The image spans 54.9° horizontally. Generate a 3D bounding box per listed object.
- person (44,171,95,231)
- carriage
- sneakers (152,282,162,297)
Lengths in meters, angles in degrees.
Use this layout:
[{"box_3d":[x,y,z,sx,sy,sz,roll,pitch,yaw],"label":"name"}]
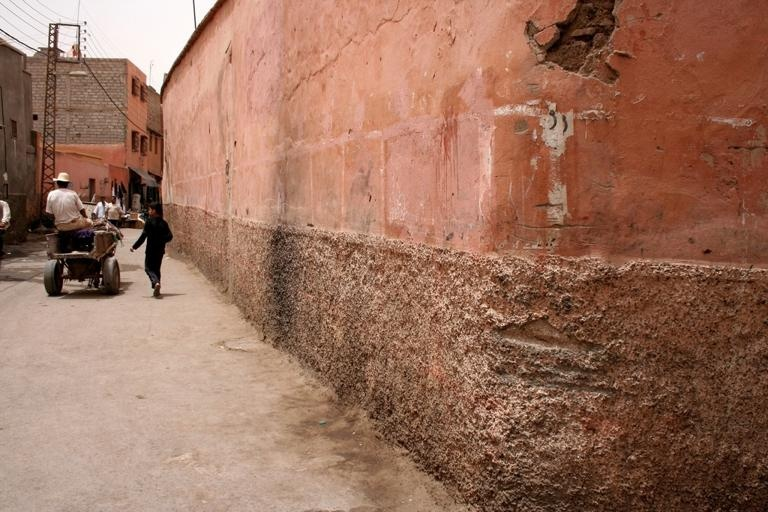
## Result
[{"box_3d":[-4.787,-0.794,11.180,0.558,0.869,0.603,-9,-2,-6],"label":"person"},{"box_3d":[-4.653,-0.004,11.527,0.902,1.066,1.637,-1,9,-13],"label":"carriage"},{"box_3d":[-3.420,0.507,11.160,0.099,0.247,0.101,9,20,-18],"label":"sneakers"}]
